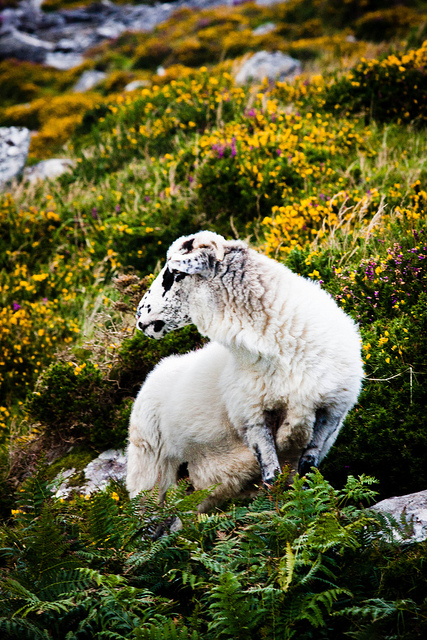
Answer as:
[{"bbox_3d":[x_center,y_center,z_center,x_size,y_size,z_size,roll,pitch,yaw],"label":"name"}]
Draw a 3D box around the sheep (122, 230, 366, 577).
[{"bbox_3d":[0.188,0.427,6.826,1.829,1.996,1.053,0,29,16],"label":"sheep"}]
